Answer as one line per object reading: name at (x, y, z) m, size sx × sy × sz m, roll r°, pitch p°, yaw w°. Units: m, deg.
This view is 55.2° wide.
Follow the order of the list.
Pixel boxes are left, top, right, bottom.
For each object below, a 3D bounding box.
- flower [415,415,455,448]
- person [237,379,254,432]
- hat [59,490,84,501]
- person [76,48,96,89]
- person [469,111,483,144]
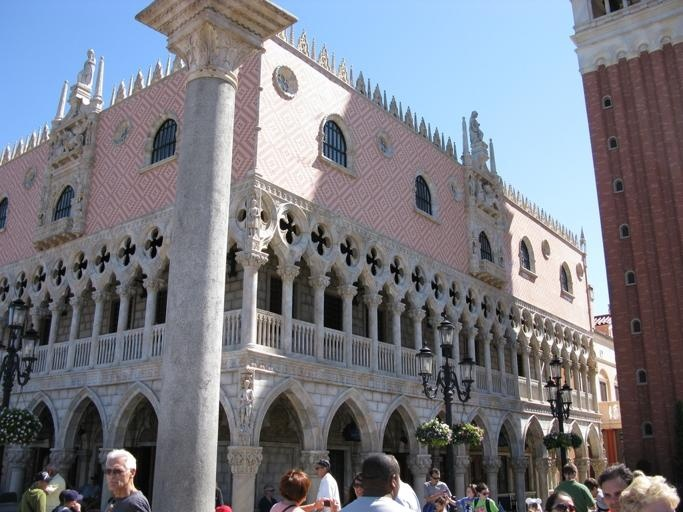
flower at (2.297, 4.489, 16.226) m, size 0.937 × 0.979 × 0.989 m, roll -4°, pitch -12°, yaw 16°
person at (-2.372, 3.658, 16.353) m, size 0.341 × 1.309 × 0.385 m, roll 3°, pitch -24°, yaw -9°
hat at (-3.964, 3.516, 9.619) m, size 0.180 × 0.143 × 0.318 m, roll -13°, pitch -28°, yaw 23°
person at (-9.190, -7.020, 23.775) m, size 0.446 × 1.506 × 1.097 m, roll 11°, pitch -27°, yaw -25°
person at (5.710, -5.680, 28.030) m, size 0.451 × 1.507 × 1.044 m, roll -6°, pitch -25°, yaw 11°
